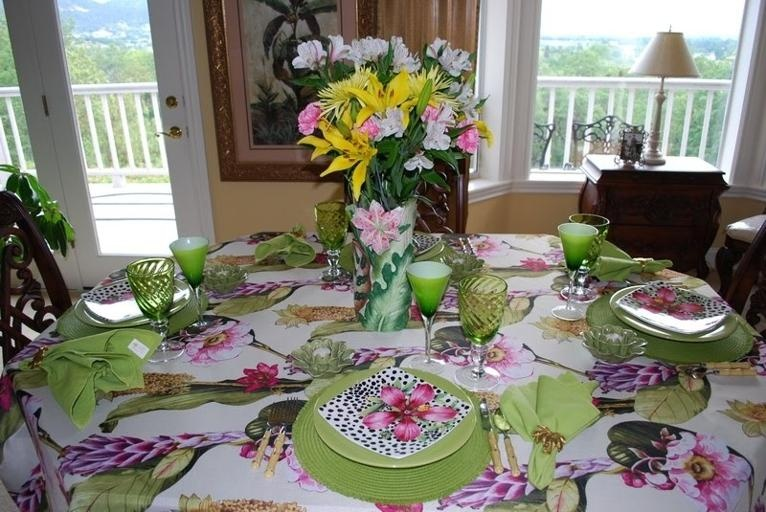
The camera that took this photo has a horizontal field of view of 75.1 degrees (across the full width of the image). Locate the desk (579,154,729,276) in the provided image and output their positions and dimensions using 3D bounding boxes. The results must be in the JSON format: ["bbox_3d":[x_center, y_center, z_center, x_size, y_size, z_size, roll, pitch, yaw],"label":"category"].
[{"bbox_3d":[1.648,-0.187,3.088,0.689,0.647,0.525,1,13,12],"label":"desk"}]

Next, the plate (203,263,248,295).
[{"bbox_3d":[-0.485,0.065,1.508,0.095,0.038,0.094,-2,32,-5],"label":"plate"}]

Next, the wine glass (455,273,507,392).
[{"bbox_3d":[0.225,0.183,1.143,0.137,0.275,0.139,1,29,8],"label":"wine glass"}]

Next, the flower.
[{"bbox_3d":[0.013,-0.352,1.420,0.550,0.637,0.527,6,30,10],"label":"flower"}]

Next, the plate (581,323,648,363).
[{"bbox_3d":[0.557,0.213,1.206,0.147,0.059,0.146,-18,20,-40],"label":"plate"}]

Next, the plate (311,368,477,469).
[{"bbox_3d":[0.027,0.309,0.988,0.296,0.058,0.333,7,11,-1],"label":"plate"}]

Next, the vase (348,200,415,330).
[{"bbox_3d":[-0.006,0.027,1.350,0.186,0.337,0.184,3,11,6],"label":"vase"}]

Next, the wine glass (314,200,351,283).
[{"bbox_3d":[-0.167,-0.051,1.598,0.121,0.246,0.119,7,23,18],"label":"wine glass"}]

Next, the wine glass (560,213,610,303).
[{"bbox_3d":[0.579,0.013,1.428,0.158,0.245,0.138,-7,34,1],"label":"wine glass"}]

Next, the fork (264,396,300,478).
[{"bbox_3d":[-0.209,0.365,1.016,0.037,0.019,0.132,-17,23,20],"label":"fork"}]

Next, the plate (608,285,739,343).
[{"bbox_3d":[0.755,0.146,1.298,0.173,0.040,0.181,-7,25,4],"label":"plate"}]

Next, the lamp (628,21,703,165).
[{"bbox_3d":[1.656,-0.948,2.961,0.320,0.744,0.444,16,27,37],"label":"lamp"}]
